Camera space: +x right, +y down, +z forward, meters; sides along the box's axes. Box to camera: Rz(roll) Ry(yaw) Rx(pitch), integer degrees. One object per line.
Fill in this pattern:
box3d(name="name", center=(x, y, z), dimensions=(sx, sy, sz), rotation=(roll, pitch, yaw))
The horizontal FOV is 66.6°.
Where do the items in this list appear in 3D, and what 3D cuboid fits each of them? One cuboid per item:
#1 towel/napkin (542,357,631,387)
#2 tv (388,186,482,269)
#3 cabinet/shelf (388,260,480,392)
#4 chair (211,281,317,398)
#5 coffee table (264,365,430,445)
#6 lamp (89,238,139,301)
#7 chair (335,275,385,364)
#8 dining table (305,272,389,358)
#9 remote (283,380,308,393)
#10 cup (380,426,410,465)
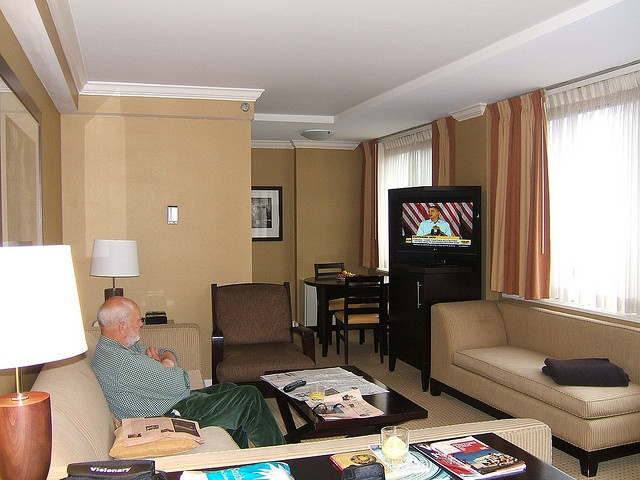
box3d(name="towel/napkin", center=(2.040, 1.012, 3.706), dimensions=(0.602, 0.151, 0.302), rotation=(-2, 0, 5))
box3d(name="tv", center=(1.322, -0.135, 5.462), dimensions=(0.964, 0.805, 0.202), rotation=(0, -2, 36))
box3d(name="cabinet/shelf", center=(1.260, 0.909, 5.526), dimensions=(0.687, 1.201, 0.888), rotation=(0, -1, -15))
box3d(name="chair", center=(-0.640, 0.876, 4.756), dimensions=(0.978, 1.339, 1.091), rotation=(0, -4, -15))
box3d(name="coffee table", center=(0.077, 1.219, 3.301), dimensions=(0.708, 0.254, 1.114), rotation=(8, -6, -23))
box3d(name="lamp", center=(-1.796, 0.315, 4.274), dimensions=(0.414, 0.622, 0.409), rotation=(3, 2, -12))
box3d(name="chair", center=(0.523, 0.977, 6.210), dimensions=(0.610, 1.068, 0.648), rotation=(0, -3, -7))
box3d(name="dining table", center=(0.327, 1.026, 6.698), dimensions=(0.970, 0.633, 0.966), rotation=(11, -14, -19))
box3d(name="remote", center=(-0.175, 1.007, 3.363), dimensions=(0.059, 0.028, 0.114), rotation=(3, 8, 44))
box3d(name="cup", center=(0.280, 0.774, 1.862), dimensions=(0.119, 0.122, 0.128), rotation=(1, -5, 0))
